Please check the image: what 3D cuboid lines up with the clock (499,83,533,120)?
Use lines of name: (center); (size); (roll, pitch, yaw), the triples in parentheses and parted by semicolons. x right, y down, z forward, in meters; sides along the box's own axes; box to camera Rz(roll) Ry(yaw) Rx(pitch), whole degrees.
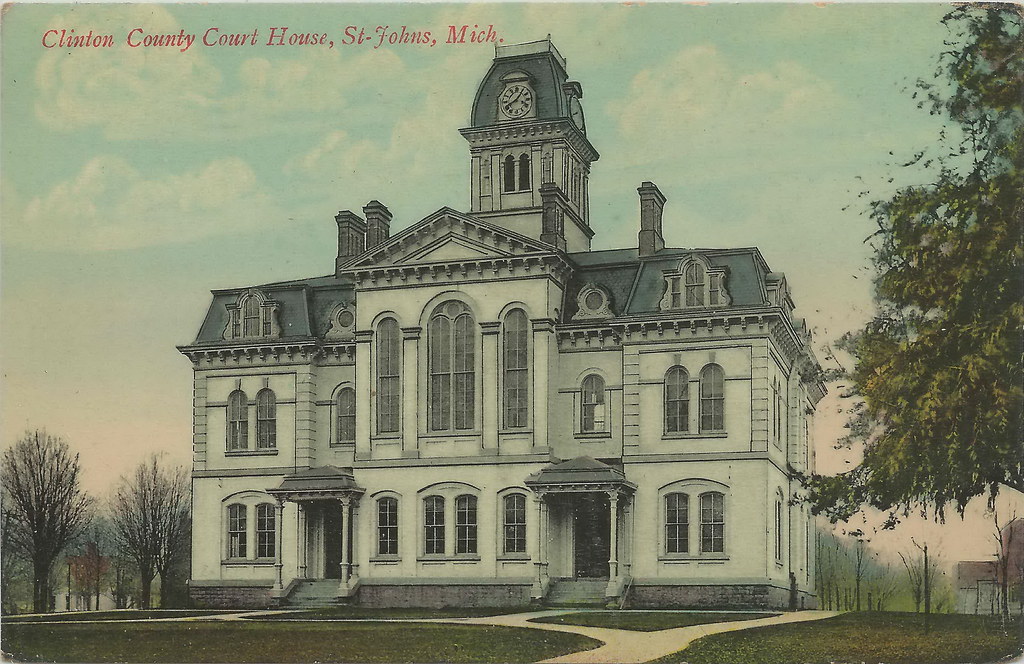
clock: (0.232, -11.101, 95.780); (2.137, 1.991, 0.200); (-1, -9, 13)
